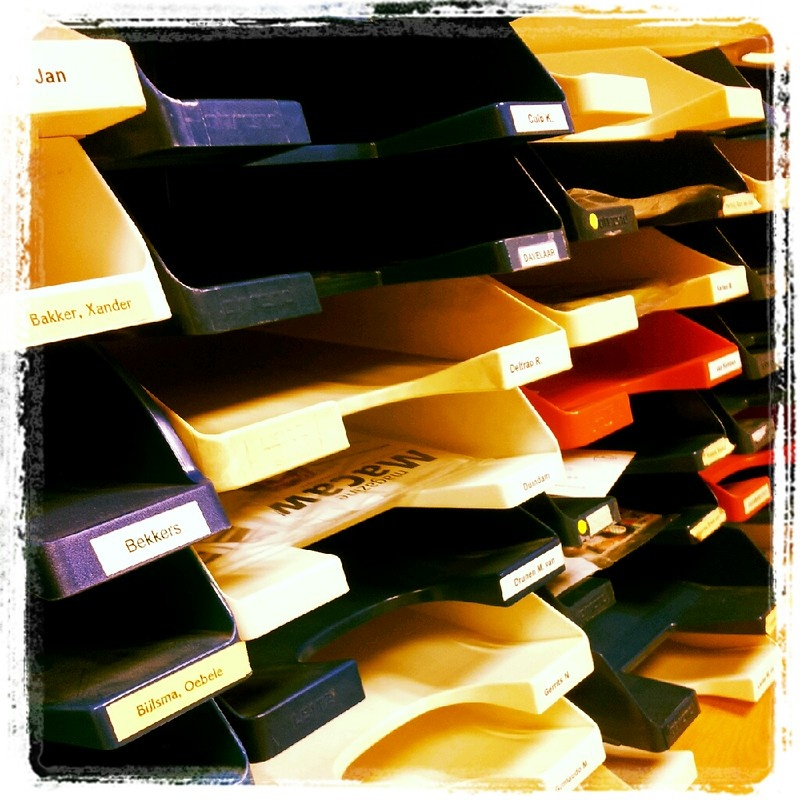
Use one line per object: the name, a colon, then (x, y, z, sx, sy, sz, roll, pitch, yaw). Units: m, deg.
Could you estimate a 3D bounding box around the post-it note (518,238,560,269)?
post-it note: (0.189, -0.200, 1.038, 0.099, 0.043, 0.019, -18, 13, -41)
